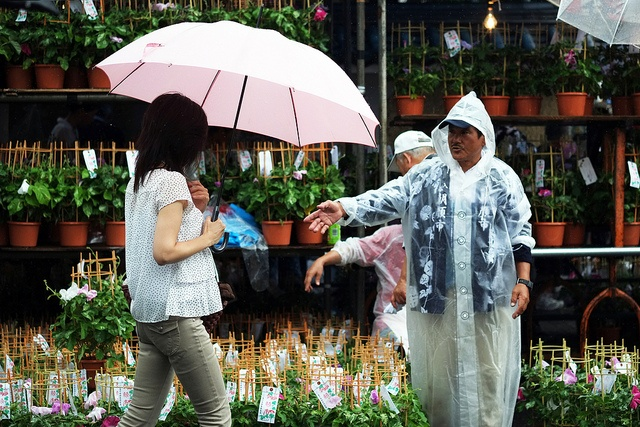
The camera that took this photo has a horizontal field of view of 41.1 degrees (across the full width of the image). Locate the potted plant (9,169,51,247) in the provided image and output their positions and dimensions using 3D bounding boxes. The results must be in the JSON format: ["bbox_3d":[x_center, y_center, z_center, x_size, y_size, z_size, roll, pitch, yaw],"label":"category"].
[{"bbox_3d":[-2.583,-0.056,7.491,0.463,0.704,0.261,-3,-6,31],"label":"potted plant"}]

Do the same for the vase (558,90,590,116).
[{"bbox_3d":[2.330,-1.000,7.865,0.218,0.170,0.230,0,1,1],"label":"vase"}]

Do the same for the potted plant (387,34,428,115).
[{"bbox_3d":[0.896,-1.258,8.016,0.446,0.667,0.380,0,0,-40],"label":"potted plant"}]

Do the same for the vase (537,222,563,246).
[{"bbox_3d":[2.118,0.192,7.849,0.207,0.167,0.216,2,-7,-8],"label":"vase"}]

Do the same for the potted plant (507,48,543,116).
[{"bbox_3d":[1.936,-1.196,8.086,0.313,0.629,0.361,-8,5,-30],"label":"potted plant"}]

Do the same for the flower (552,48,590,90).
[{"bbox_3d":[2.324,-1.335,7.979,0.327,0.477,0.329,1,3,1],"label":"flower"}]

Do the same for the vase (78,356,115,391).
[{"bbox_3d":[-1.697,1.212,6.517,0.234,0.207,0.243,-1,-2,41],"label":"vase"}]

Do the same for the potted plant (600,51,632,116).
[{"bbox_3d":[2.814,-1.244,8.042,0.317,0.653,0.283,-2,-5,18],"label":"potted plant"}]

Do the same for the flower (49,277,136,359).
[{"bbox_3d":[-1.677,0.774,6.504,0.611,0.741,0.586,-1,4,-13],"label":"flower"}]

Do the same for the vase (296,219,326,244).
[{"bbox_3d":[-0.083,0.176,7.573,0.226,0.177,0.219,3,-5,-45],"label":"vase"}]

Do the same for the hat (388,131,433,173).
[{"bbox_3d":[0.701,-0.490,6.979,0.268,0.209,0.376,-9,-18,-36],"label":"hat"}]

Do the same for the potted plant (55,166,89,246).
[{"bbox_3d":[-2.185,-0.063,7.552,0.263,0.714,0.253,1,-5,-18],"label":"potted plant"}]

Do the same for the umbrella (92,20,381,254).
[{"bbox_3d":[-0.511,-0.990,6.706,1.770,1.526,1.817,25,-6,-2],"label":"umbrella"}]

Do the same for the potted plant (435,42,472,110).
[{"bbox_3d":[1.251,-1.294,8.017,0.285,0.700,0.279,-9,13,-27],"label":"potted plant"}]

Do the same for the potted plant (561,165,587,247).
[{"bbox_3d":[2.370,-0.045,7.926,0.209,0.714,0.250,-1,-5,6],"label":"potted plant"}]
